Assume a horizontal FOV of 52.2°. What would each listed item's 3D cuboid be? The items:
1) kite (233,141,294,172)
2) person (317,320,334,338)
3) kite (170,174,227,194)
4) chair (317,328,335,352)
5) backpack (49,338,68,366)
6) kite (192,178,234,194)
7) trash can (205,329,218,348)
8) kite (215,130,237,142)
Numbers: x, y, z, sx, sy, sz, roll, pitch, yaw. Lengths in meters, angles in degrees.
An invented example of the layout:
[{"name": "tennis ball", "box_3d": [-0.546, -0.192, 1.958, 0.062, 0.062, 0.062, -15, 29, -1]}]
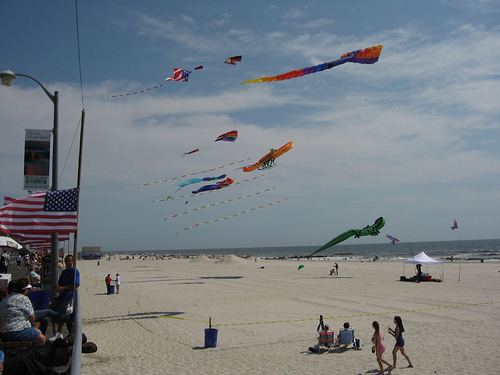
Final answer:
[{"name": "kite", "box_3d": [1.092, -1.741, 32.236, 4.256, 1.417, 1.145, -20, -34, 37]}, {"name": "person", "box_3d": [2.563, 4.942, 17.758, 0.619, 0.616, 0.757, 5, -16, -14]}, {"name": "kite", "box_3d": [-1.851, -0.153, 22.348, 2.243, 0.685, 0.586, -9, 26, 8]}, {"name": "chair", "box_3d": [2.613, 5.226, 17.537, 0.698, 0.745, 0.651, 1, 1, -3]}, {"name": "backpack", "box_3d": [-4.663, 3.987, 12.452, 0.416, 0.715, 0.754, 1, -4, -3]}, {"name": "kite", "box_3d": [-1.755, -0.142, 23.389, 1.970, 0.425, 0.606, -11, 17, -21]}, {"name": "trash can", "box_3d": [-1.376, 5.353, 18.118, 0.616, 0.557, 0.624, 7, -13, -35]}, {"name": "kite", "box_3d": [-1.178, -2.985, 29.564, 0.817, 0.710, 1.578, 1, -4, -5]}]
